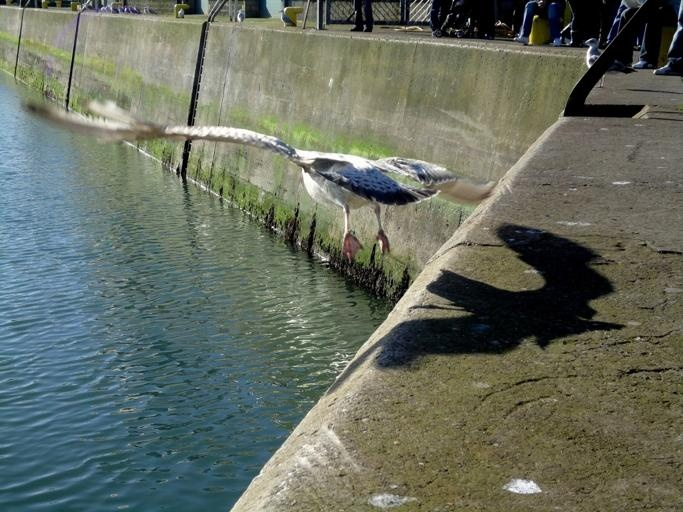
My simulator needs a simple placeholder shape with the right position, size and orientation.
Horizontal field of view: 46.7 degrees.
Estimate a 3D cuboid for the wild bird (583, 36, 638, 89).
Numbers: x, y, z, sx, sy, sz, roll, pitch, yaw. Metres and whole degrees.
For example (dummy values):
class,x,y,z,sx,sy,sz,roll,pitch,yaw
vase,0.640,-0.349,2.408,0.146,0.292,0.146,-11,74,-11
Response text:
class,x,y,z,sx,sy,sz,roll,pitch,yaw
wild bird,3.165,-2.277,9.354,0.714,0.403,0.215,12,24,0
